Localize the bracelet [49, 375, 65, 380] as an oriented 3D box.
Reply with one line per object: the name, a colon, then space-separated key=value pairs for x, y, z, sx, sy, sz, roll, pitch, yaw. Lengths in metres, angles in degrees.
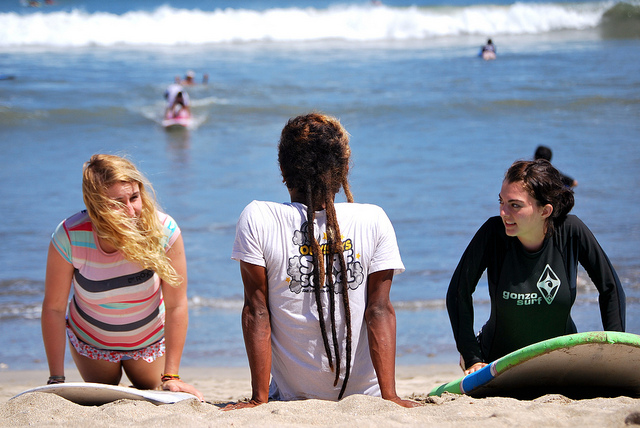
bracelet: x=-5.188 y=3.172 z=26.172 sx=0.291 sy=0.098 sz=0.060 roll=-3 pitch=10 yaw=-9

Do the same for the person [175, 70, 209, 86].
person: x=-3.883 y=-3.979 z=39.975 sx=0.916 sy=0.389 sz=0.633 roll=2 pitch=-1 yaw=-1

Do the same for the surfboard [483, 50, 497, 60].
surfboard: x=3.991 y=-3.742 z=31.607 sx=0.251 sy=0.125 sz=0.315 roll=3 pitch=2 yaw=4

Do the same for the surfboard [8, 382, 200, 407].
surfboard: x=-4.169 y=3.507 z=26.015 sx=3.515 sy=0.409 sz=1.090 roll=0 pitch=-24 yaw=-3
